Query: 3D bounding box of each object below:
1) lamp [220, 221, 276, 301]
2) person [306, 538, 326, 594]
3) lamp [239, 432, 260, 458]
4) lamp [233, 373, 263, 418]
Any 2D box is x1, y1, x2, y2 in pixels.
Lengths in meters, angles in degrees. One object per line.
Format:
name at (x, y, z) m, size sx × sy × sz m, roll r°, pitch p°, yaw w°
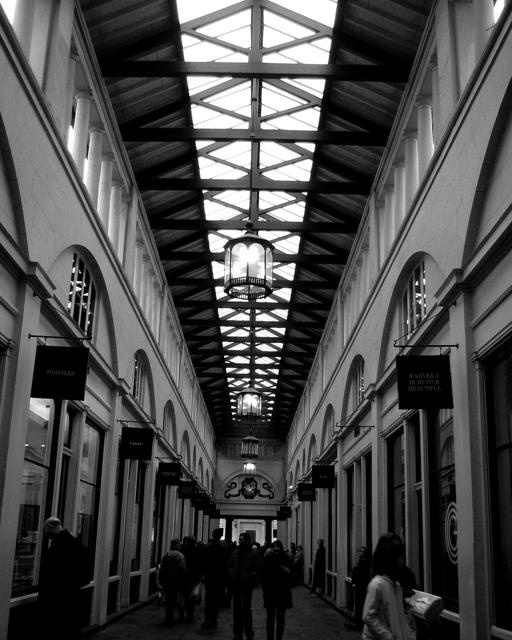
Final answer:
lamp at (-0.128, -1.156, 10.320) m, size 0.606 × 1.617 × 0.776 m, roll 7°, pitch -23°, yaw -15°
person at (2.218, 8.650, 20.106) m, size 0.536 × 1.864 × 2.999 m, roll -1°, pitch -27°, yaw 7°
lamp at (-0.305, 6.919, 30.655) m, size 0.985 × 2.127 × 1.198 m, roll -7°, pitch -17°, yaw 24°
lamp at (-0.234, 3.757, 25.799) m, size 0.951 × 2.155 × 1.297 m, roll -2°, pitch -22°, yaw 6°
